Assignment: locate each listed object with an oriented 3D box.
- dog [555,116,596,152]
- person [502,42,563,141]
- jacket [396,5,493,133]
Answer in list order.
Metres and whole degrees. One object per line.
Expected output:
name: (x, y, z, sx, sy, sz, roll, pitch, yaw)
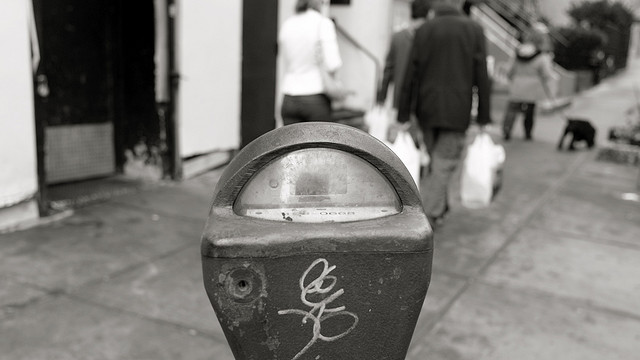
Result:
dog: (5.126, -0.898, 10.229, 0.899, 0.609, 0.463, -8, 21, -20)
person: (4.664, -2.096, 11.432, 1.195, 2.889, 1.169, 2, 3, 3)
jacket: (1.396, -1.313, 6.024, 0.831, 1.452, 0.537, 9, 22, 27)
